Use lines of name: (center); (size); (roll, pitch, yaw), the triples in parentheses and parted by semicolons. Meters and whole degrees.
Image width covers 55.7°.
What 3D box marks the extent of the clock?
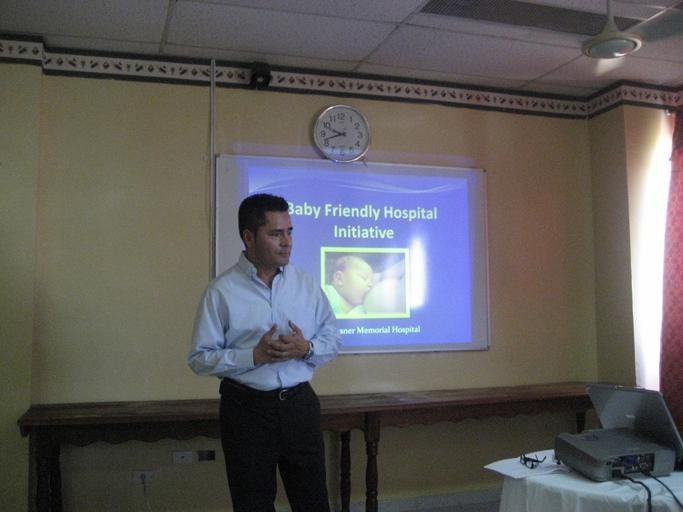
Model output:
clock: (-0.012, -1.002, 5.365); (0.435, 0.499, 0.050); (-1, -4, -18)
